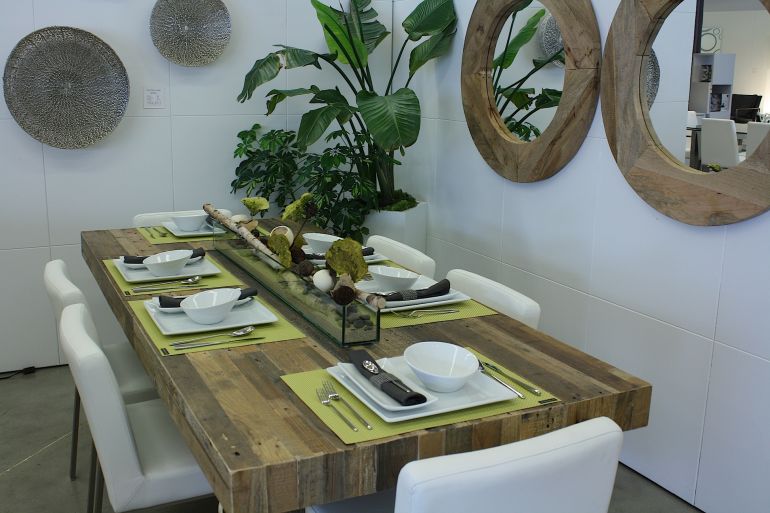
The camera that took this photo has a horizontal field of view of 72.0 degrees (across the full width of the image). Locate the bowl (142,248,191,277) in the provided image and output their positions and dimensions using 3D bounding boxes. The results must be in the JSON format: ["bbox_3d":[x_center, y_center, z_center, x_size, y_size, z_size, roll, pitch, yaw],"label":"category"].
[{"bbox_3d":[-1.037,0.028,2.546,0.144,0.068,0.158,-9,21,3],"label":"bowl"}]

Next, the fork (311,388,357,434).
[{"bbox_3d":[-0.155,0.454,1.638,0.048,0.042,0.289,-23,36,-20],"label":"fork"}]

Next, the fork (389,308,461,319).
[{"bbox_3d":[0.161,0.247,2.238,0.204,0.024,0.030,-2,11,-25],"label":"fork"}]

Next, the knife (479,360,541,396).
[{"bbox_3d":[0.418,0.418,1.771,0.018,0.027,0.222,14,8,-46],"label":"knife"}]

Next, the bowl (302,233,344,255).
[{"bbox_3d":[-0.358,-0.076,2.879,0.165,0.062,0.168,2,12,0],"label":"bowl"}]

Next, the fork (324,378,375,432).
[{"bbox_3d":[-0.102,0.460,1.590,0.029,0.027,0.182,-2,31,-37],"label":"fork"}]

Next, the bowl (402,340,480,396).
[{"bbox_3d":[0.183,0.367,1.737,0.170,0.073,0.176,3,31,-2],"label":"bowl"}]

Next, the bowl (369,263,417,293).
[{"bbox_3d":[0.036,0.103,2.447,0.146,0.061,0.148,6,15,-2],"label":"bowl"}]

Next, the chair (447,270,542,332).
[{"bbox_3d":[0.532,0.219,2.535,0.235,0.401,0.224,10,17,-39],"label":"chair"}]

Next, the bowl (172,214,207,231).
[{"bbox_3d":[-1.194,-0.211,3.253,0.129,0.053,0.130,-3,11,1],"label":"bowl"}]

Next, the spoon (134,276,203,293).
[{"bbox_3d":[-0.996,0.133,2.437,0.222,0.041,0.045,-4,18,-29],"label":"spoon"}]
